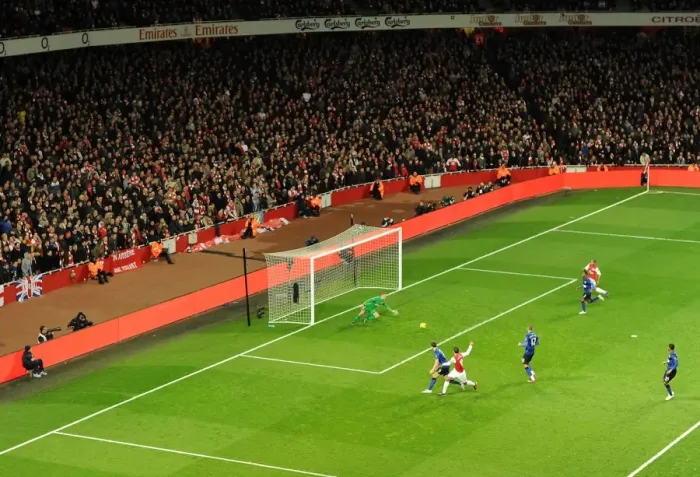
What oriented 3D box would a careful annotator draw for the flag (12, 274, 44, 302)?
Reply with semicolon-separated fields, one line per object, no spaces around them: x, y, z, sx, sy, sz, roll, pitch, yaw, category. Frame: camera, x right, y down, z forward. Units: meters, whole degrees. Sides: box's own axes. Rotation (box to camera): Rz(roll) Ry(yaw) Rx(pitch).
-15.661;2.452;43.960;0.063;0.893;1.308;4;10;38;flag

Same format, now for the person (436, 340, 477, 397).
4.325;5.444;36.782;1.516;2.052;1.022;16;33;24;person

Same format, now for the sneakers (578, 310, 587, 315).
10.922;3.525;42.503;0.371;0.255;0.129;3;6;35;sneakers

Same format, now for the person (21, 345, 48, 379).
-13.178;5.147;37.884;0.586;1.364;0.952;6;15;38;person

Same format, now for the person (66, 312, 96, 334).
-12.119;3.890;40.760;1.021;1.005;0.424;14;14;-17;person

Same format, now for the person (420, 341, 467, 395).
3.436;5.003;36.065;1.050;2.412;1.401;-3;19;5;person

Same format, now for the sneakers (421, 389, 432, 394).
3.058;6.150;36.139;0.405;0.161;0.148;1;1;29;sneakers

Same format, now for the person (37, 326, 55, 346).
-13.155;4.287;39.232;0.404;0.732;0.637;1;20;-5;person

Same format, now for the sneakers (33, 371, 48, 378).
-12.917;5.748;37.939;0.591;0.252;0.203;0;4;14;sneakers
